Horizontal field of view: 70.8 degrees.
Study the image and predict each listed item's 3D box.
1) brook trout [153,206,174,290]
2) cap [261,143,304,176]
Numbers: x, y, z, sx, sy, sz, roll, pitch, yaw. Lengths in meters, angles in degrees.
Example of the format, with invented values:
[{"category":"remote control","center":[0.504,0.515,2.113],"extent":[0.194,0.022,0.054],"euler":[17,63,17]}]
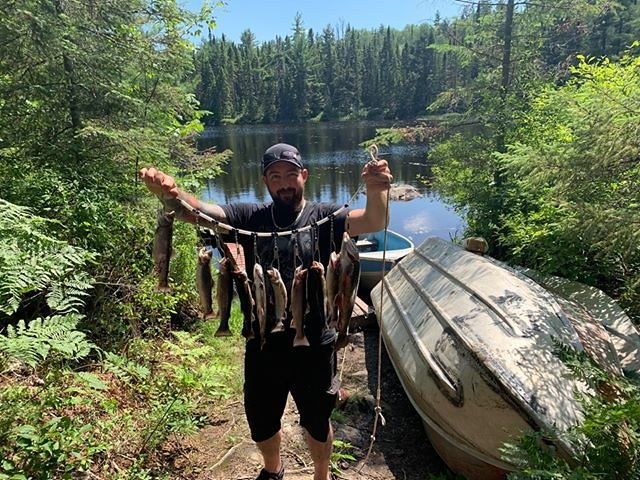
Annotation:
[{"category":"brook trout","center":[-1.637,0.105,4.553],"extent":[0.260,0.767,0.125],"euler":[0,6,4]},{"category":"cap","center":[-0.441,-0.931,5.014],"extent":[0.420,0.309,0.579],"euler":[-6,5,-14]}]
